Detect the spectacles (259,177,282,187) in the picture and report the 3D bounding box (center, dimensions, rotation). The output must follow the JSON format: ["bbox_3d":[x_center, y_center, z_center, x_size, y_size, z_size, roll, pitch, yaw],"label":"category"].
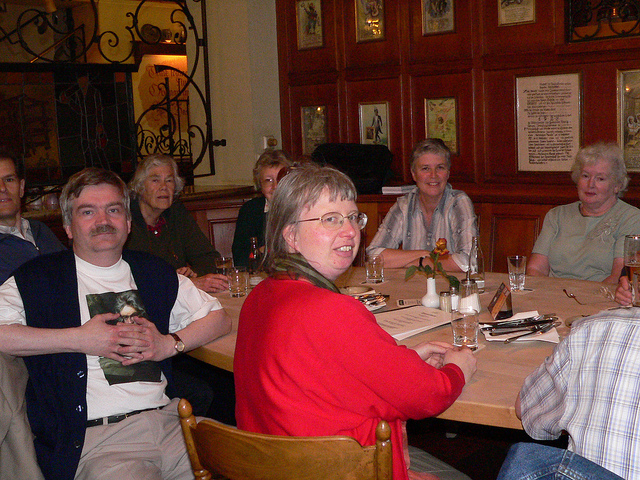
[{"bbox_3d":[-0.359,-0.418,3.897,0.061,0.063,0.213,-8,7,-40],"label":"spectacles"}]

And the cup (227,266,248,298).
[{"bbox_3d":[-0.450,0.233,2.973,0.125,0.172,0.140,-1,7,6],"label":"cup"}]

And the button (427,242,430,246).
[{"bbox_3d":[0.739,0.026,3.643,0.021,0.023,0.005,-4,-9,39],"label":"button"}]

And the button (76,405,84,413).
[{"bbox_3d":[-0.920,0.650,2.060,0.024,0.029,0.006,2,-3,-13],"label":"button"}]

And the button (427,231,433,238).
[{"bbox_3d":[0.747,-0.040,3.644,0.028,0.030,0.029,-1,-3,21],"label":"button"}]

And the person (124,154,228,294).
[{"bbox_3d":[-1.017,-0.047,3.587,0.610,1.086,0.788,-6,3,-13],"label":"person"}]

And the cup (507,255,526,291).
[{"bbox_3d":[1.049,0.191,2.856,0.102,0.202,0.114,0,-3,7],"label":"cup"}]

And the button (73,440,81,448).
[{"bbox_3d":[-0.915,0.770,2.023,0.022,0.026,0.005,-6,-5,-21],"label":"button"}]

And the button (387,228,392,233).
[{"bbox_3d":[0.487,-0.067,3.728,0.031,0.031,0.008,-2,6,7],"label":"button"}]

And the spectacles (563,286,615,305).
[{"bbox_3d":[1.312,0.277,2.558,0.149,0.042,0.085,-10,16,-17],"label":"spectacles"}]

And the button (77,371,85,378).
[{"bbox_3d":[-0.930,0.525,2.093,0.019,0.022,0.005,-2,-30,-1],"label":"button"}]

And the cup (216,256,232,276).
[{"bbox_3d":[-0.587,0.161,3.213,0.090,0.166,0.096,1,7,0],"label":"cup"}]

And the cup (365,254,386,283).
[{"bbox_3d":[0.316,0.179,3.169,0.138,0.232,0.136,-5,-4,0],"label":"cup"}]

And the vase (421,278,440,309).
[{"bbox_3d":[0.532,0.255,2.559,0.110,0.188,0.113,-1,1,2],"label":"vase"}]

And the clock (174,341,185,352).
[{"bbox_3d":[-0.592,0.447,2.258,0.039,0.045,0.011,0,2,-12],"label":"clock"}]

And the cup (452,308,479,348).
[{"bbox_3d":[0.575,0.352,2.127,0.094,0.161,0.092,-2,6,0],"label":"cup"}]
